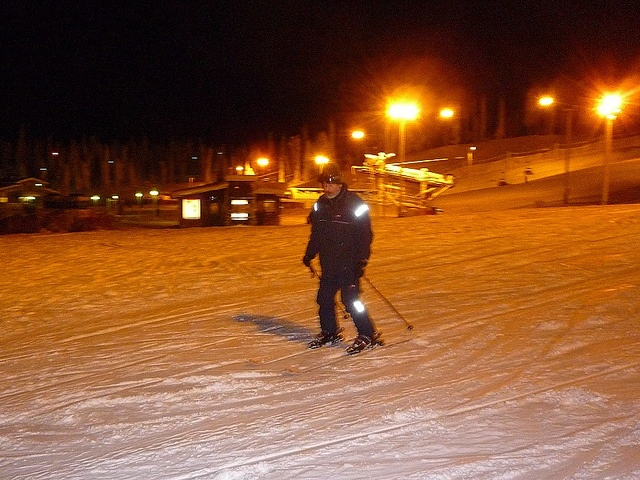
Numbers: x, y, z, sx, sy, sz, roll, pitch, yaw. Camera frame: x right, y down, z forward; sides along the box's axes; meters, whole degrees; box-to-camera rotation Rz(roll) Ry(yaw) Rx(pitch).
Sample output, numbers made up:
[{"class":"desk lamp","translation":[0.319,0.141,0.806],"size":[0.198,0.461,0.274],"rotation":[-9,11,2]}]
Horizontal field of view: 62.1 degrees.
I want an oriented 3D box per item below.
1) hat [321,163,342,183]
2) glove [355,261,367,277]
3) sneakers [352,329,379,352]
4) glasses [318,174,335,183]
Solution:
[{"class":"hat","translation":[0.089,-0.867,6.906],"size":[0.306,0.223,0.258],"rotation":[3,-2,-29]},{"class":"glove","translation":[0.487,0.368,6.915],"size":[0.047,0.173,0.197],"rotation":[25,4,44]},{"class":"sneakers","translation":[0.603,1.373,7.184],"size":[0.511,0.166,0.161],"rotation":[-7,1,-32]},{"class":"glasses","translation":[0.063,-0.811,6.894],"size":[0.138,0.124,0.261],"rotation":[-10,12,-39]}]
